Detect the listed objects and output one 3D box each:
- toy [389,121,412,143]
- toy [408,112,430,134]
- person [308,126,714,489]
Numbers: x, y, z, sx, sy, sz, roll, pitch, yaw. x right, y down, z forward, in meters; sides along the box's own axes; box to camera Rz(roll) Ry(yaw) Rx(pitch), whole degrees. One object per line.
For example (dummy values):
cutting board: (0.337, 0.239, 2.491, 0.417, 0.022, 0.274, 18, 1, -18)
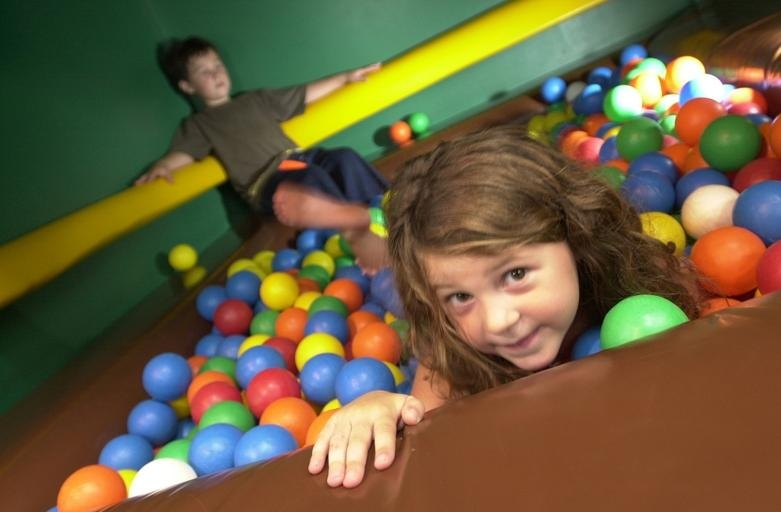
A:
toy: (0.051, -0.552, 2.571, 0.091, 0.112, 0.093, -2, 55, 5)
toy: (0.125, -0.603, 2.573, 0.087, 0.106, 0.090, 0, 45, 19)
person: (0.295, 0.110, 1.524, 0.726, 0.560, 1.046, -25, 26, 28)
